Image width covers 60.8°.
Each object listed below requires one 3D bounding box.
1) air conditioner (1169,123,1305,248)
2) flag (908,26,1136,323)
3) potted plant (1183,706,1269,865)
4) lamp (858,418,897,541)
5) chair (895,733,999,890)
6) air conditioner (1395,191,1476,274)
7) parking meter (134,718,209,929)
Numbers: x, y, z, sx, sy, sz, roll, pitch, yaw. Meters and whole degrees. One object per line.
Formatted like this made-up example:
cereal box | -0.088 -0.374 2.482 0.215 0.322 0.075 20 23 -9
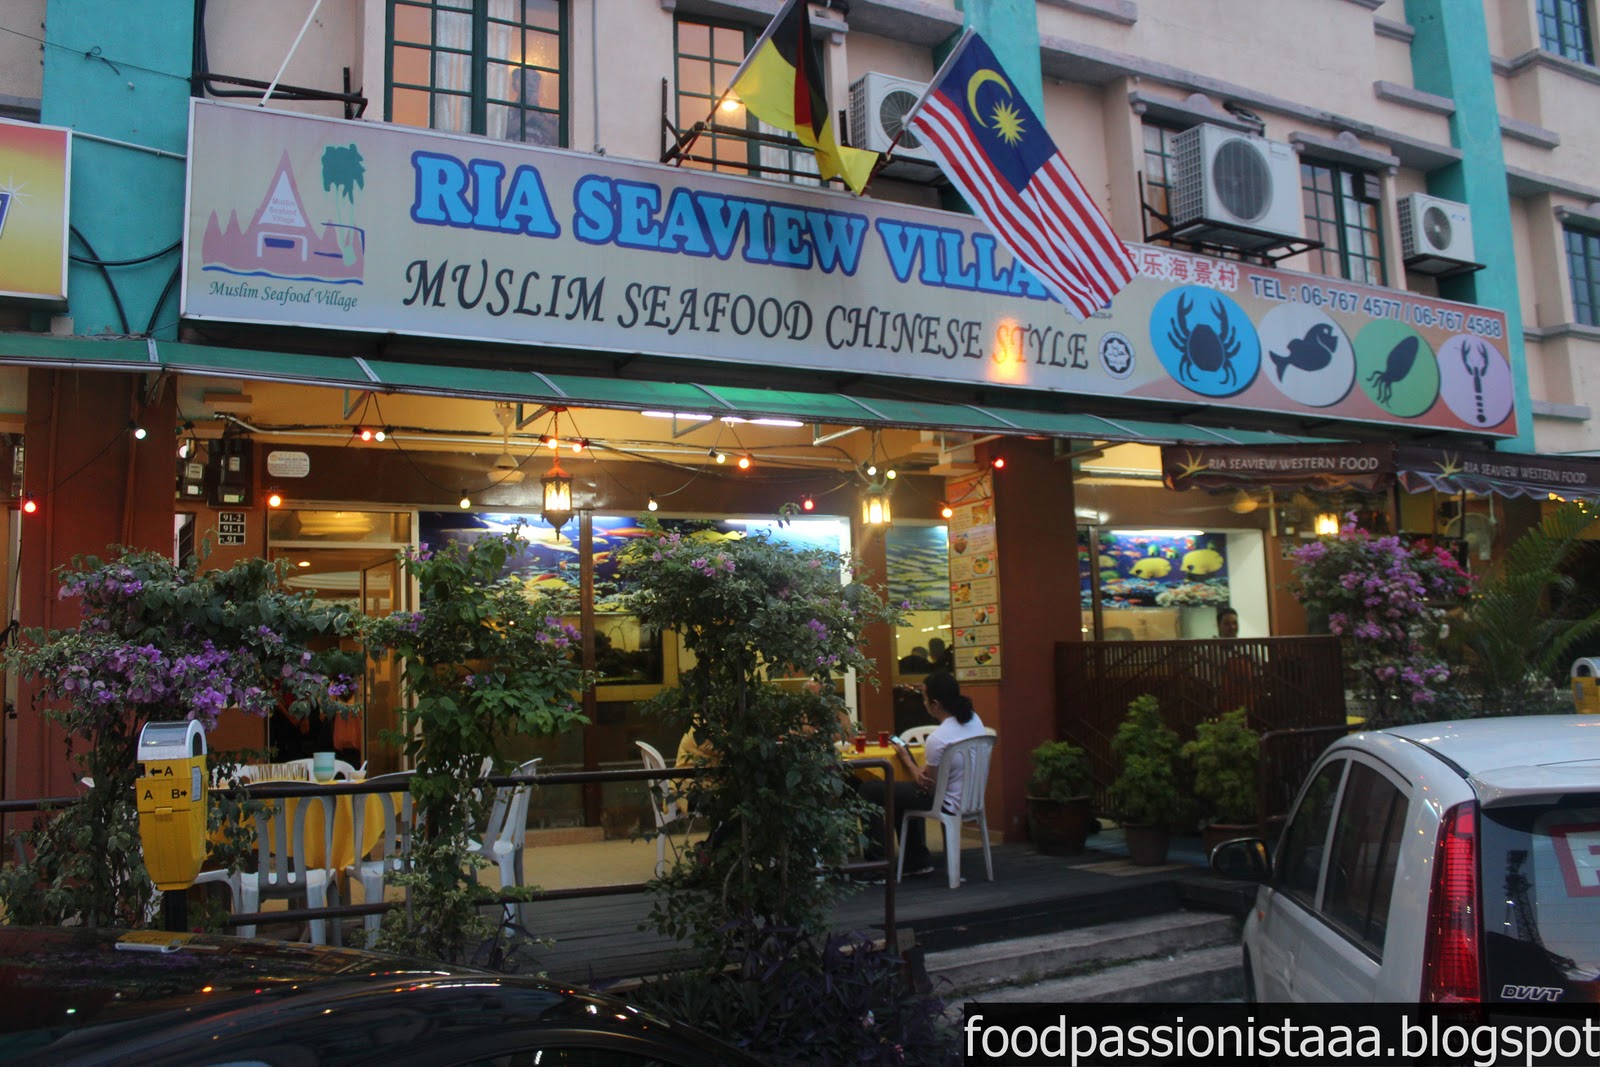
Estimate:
air conditioner | 4.427 -3.562 13.912 1.401 1.054 0.347 0 -6 -23
flag | 1.851 -3.106 11.580 1.895 2.415 0.203 0 -6 -21
potted plant | 3.497 1.999 11.226 0.999 1.438 0.922 -4 -8 19
lamp | 0.803 -0.483 14.637 0.462 1.133 1.147 -2 -5 3
chair | 1.196 2.283 11.350 0.775 1.165 0.838 -3 -8 20
air conditioner | 7.153 -3.404 15.455 0.917 0.779 0.376 8 -14 -32
parking meter | -3.232 1.501 7.034 0.303 1.060 0.259 0 -6 -18
